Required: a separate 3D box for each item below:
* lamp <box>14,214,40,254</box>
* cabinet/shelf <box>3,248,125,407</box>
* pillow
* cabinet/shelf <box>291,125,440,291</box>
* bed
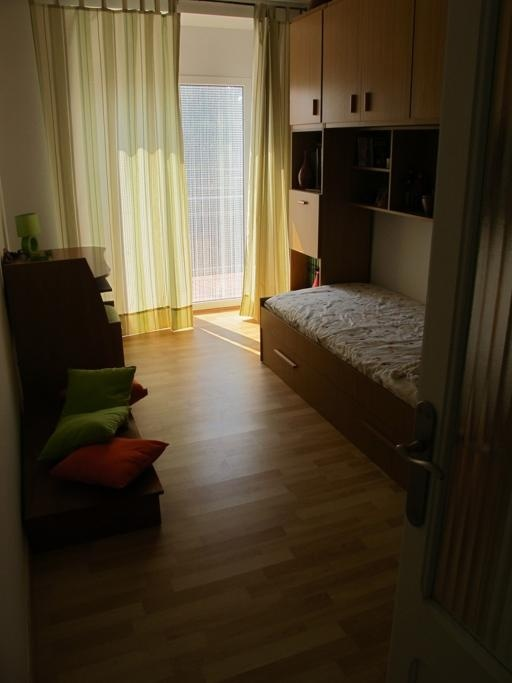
[{"bbox_3d":[-1.320,-0.626,2.930,0.117,0.212,0.292,-10,20,-23],"label":"lamp"},{"bbox_3d":[-1.111,-0.435,2.956,0.550,0.870,1.244,-6,23,-13],"label":"cabinet/shelf"},{"bbox_3d":[-0.697,0.400,2.249,0.392,0.180,0.558,-8,29,-10],"label":"pillow"},{"bbox_3d":[0.730,-0.815,3.635,0.386,1.361,1.245,-14,23,-37],"label":"cabinet/shelf"},{"bbox_3d":[0.697,0.175,3.116,0.755,0.647,1.847,-6,22,-19],"label":"bed"}]
